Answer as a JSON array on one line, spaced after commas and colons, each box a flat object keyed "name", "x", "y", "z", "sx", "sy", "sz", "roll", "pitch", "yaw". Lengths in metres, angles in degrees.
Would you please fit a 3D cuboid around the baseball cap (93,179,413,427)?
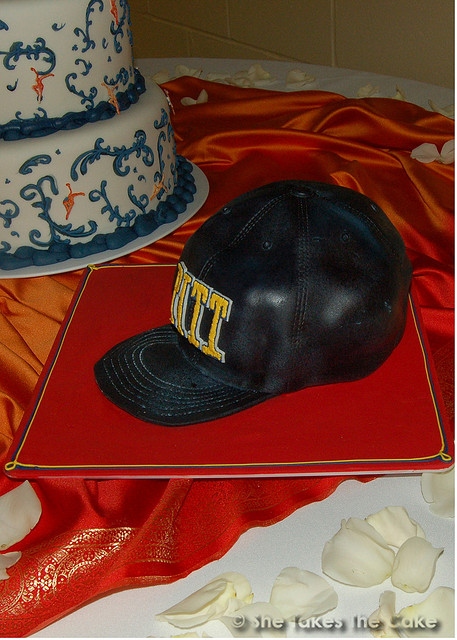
[{"name": "baseball cap", "x": 0.092, "y": -0.015, "z": 0.926, "sx": 0.503, "sy": 0.235, "sz": 0.314, "roll": -22, "pitch": 51, "yaw": -20}]
